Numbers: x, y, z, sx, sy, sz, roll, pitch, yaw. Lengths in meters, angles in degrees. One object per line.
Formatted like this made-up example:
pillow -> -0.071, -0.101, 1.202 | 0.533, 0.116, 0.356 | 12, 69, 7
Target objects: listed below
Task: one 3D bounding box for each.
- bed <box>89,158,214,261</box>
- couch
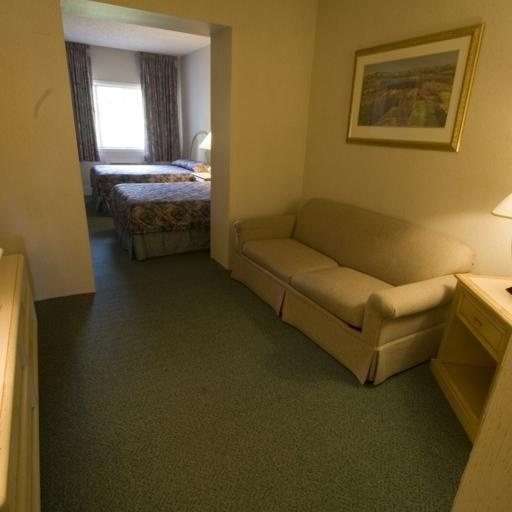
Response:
bed -> -1.302, -0.521, 5.063 | 1.105, 0.514, 1.995 | -8, 35, -21
couch -> 0.597, 0.116, 2.949 | 0.770, 0.810, 1.566 | -11, 28, -30
